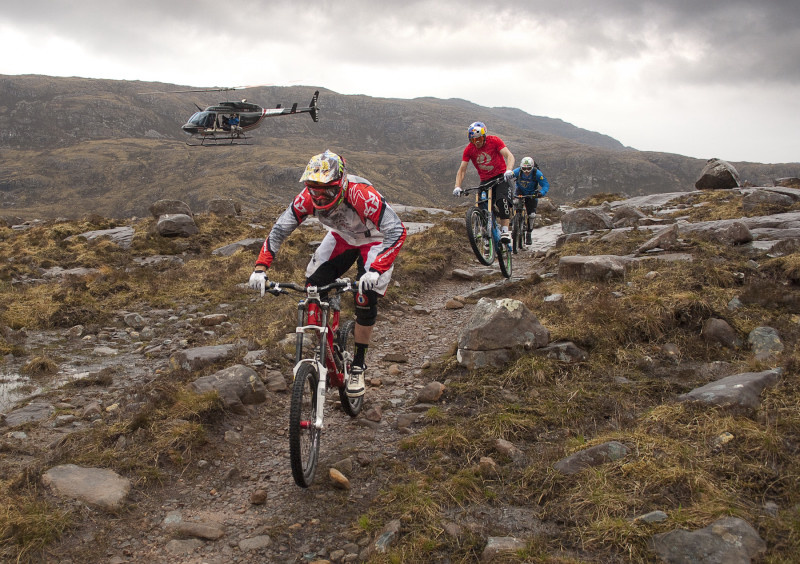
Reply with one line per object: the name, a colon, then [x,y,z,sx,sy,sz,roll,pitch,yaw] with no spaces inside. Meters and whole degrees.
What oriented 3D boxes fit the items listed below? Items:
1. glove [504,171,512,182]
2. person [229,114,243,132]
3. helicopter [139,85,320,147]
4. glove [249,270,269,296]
glove: [3.172,-3.060,18.320,0.291,0.140,0.348,-3,1,7]
person: [-12.632,-12.212,48.752,0.574,1.237,1.100,5,13,11]
helicopter: [-11.972,-13.137,49.885,11.463,4.092,10.011,-3,16,-14]
glove: [-2.498,0.034,11.208,0.307,0.434,0.322,-3,14,-22]
